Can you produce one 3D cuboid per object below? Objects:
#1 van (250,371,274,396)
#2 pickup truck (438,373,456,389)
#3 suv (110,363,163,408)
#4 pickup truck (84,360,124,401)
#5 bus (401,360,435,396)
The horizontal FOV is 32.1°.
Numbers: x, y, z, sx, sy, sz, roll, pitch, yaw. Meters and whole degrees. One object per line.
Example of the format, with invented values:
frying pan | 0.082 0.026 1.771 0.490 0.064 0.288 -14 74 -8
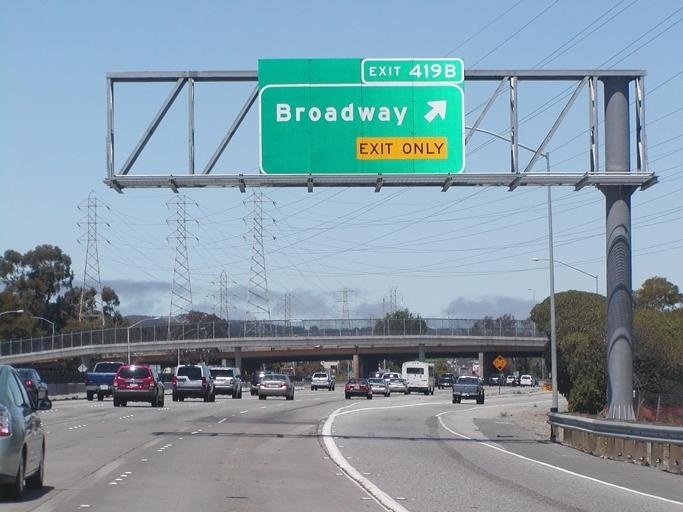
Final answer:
van | -5.857 9.406 87.606 1.599 1.929 3.629 0 -1 1
pickup truck | 11.156 13.033 125.075 1.654 1.560 3.656 0 1 11
suv | -10.133 6.501 59.682 2.004 2.376 3.358 1 -8 -5
pickup truck | -13.729 7.214 68.603 1.809 2.043 3.837 0 -1 1
bus | 6.394 9.520 94.888 1.590 1.931 3.130 0 -1 8
